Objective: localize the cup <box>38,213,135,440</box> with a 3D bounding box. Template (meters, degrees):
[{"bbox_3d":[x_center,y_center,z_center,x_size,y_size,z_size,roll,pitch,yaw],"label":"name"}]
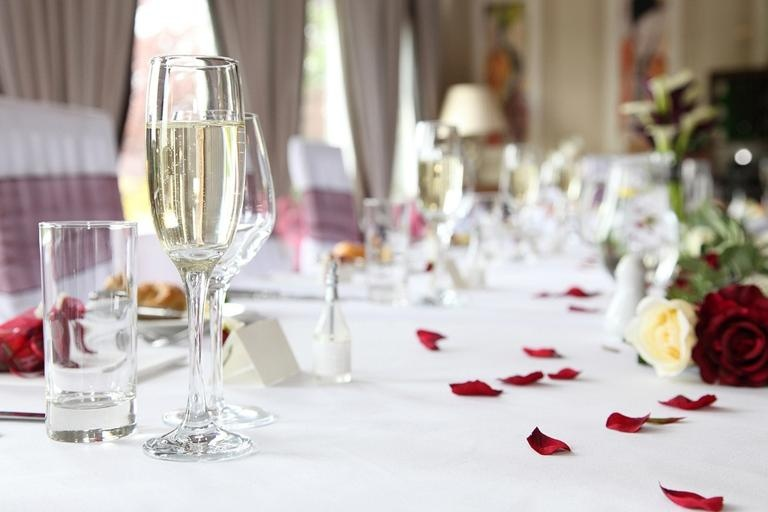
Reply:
[{"bbox_3d":[-0.294,0.078,0.671,0.092,0.223,0.043,-3,9,-22],"label":"cup"}]

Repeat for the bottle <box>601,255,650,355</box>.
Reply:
[{"bbox_3d":[0.400,0.075,1.042,0.035,0.148,0.081,16,-4,-20],"label":"bottle"}]

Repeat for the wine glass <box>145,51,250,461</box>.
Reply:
[{"bbox_3d":[-0.184,0.001,0.642,0.105,0.384,0.080,-2,9,-14],"label":"wine glass"}]
